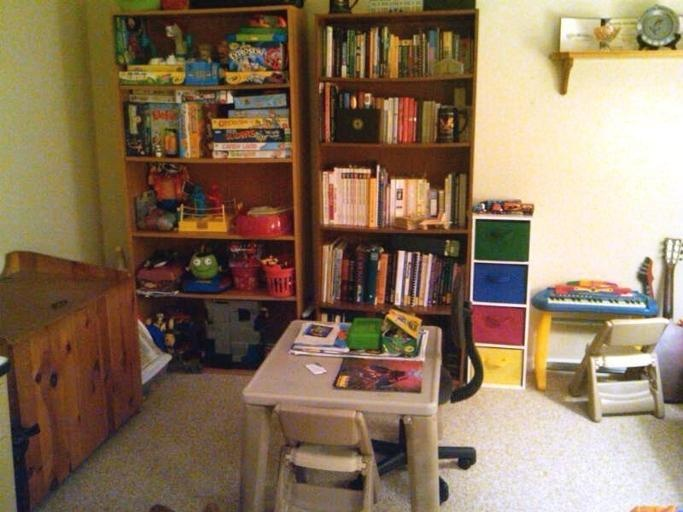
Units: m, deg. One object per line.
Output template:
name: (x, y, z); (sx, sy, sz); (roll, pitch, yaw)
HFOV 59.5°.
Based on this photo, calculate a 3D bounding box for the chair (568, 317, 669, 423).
chair: (1.676, 0.639, 3.641); (0.473, 0.620, 0.344); (-3, 17, -3)

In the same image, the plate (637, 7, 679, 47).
plate: (1.916, -1.378, 3.587); (0.281, 0.241, 0.090); (-4, 17, -8)

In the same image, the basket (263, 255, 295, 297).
basket: (-0.415, 0.130, 4.135); (0.242, 0.230, 0.257); (0, 14, 2)

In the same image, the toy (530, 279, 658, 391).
toy: (1.530, 0.378, 4.054); (0.850, 0.791, 0.716); (0, 13, 6)

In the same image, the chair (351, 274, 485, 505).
chair: (0.187, 0.632, 3.534); (1.066, 1.330, 0.904); (0, 7, 2)

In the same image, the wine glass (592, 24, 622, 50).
wine glass: (1.576, -1.331, 3.579); (0.170, 0.162, 0.160); (-1, 8, 5)

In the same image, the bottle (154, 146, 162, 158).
bottle: (-1.223, -0.707, 3.995); (0.055, 0.072, 0.049); (-7, 17, -16)

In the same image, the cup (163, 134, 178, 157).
cup: (-1.134, -0.750, 3.985); (0.089, 0.158, 0.079); (-6, 17, -13)

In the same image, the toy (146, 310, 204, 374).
toy: (-1.170, 0.599, 4.295); (0.345, 0.424, 0.157); (4, 8, 8)

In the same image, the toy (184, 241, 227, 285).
toy: (-0.963, 0.053, 4.244); (0.288, 0.245, 0.282); (1, 1, -6)

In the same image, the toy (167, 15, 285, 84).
toy: (-0.570, -1.317, 3.816); (0.470, 0.417, 0.192); (-1, 17, 4)
